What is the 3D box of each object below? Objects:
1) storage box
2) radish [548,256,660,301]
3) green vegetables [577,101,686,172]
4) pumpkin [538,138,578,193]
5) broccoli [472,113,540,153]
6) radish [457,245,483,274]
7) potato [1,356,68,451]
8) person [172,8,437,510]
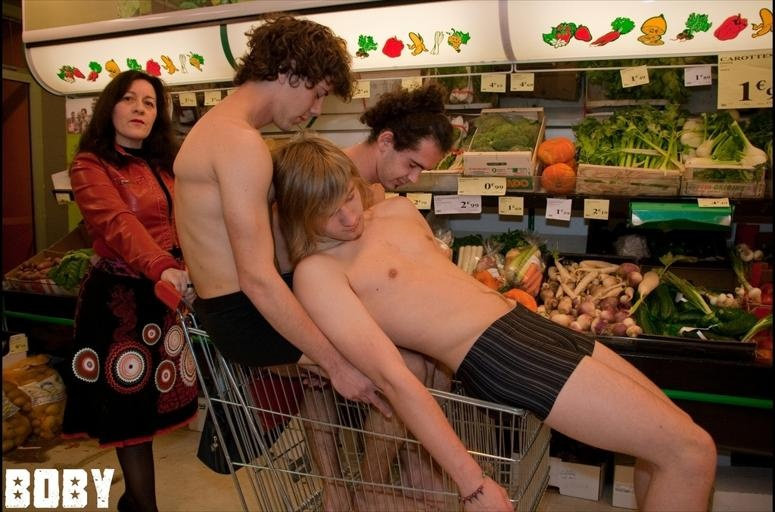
[{"bbox_3d":[1.776,-0.631,3.226,2.072,0.563,0.568,0,15,13],"label":"storage box"},{"bbox_3d":[1.460,0.138,3.403,0.455,0.153,0.311,1,7,23],"label":"radish"},{"bbox_3d":[1.599,-0.778,3.324,0.567,0.545,0.236,11,-10,15],"label":"green vegetables"},{"bbox_3d":[1.147,-0.601,3.293,0.214,0.375,0.270,-10,15,-32],"label":"pumpkin"},{"bbox_3d":[0.793,-0.827,3.375,0.378,0.129,0.375,5,47,23],"label":"broccoli"},{"bbox_3d":[0.593,0.005,3.595,0.144,0.073,0.246,10,57,6],"label":"radish"},{"bbox_3d":[-2.735,1.116,3.850,0.410,0.598,0.517,-10,14,-28],"label":"potato"},{"bbox_3d":[-0.392,-0.026,2.464,1.139,2.057,0.996,-5,16,-29],"label":"person"}]
